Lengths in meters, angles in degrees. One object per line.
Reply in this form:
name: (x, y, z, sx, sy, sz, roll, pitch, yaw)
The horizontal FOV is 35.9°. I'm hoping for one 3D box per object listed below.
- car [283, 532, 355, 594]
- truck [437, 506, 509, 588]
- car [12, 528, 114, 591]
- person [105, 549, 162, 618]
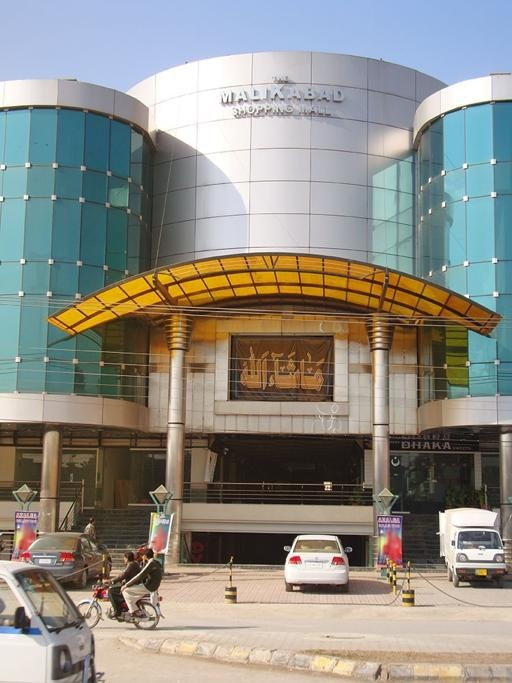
car: (1.451, 5.593, 19.499, 1.509, 1.396, 1.953, -1, -8, 2)
truck: (6.240, 6.034, 22.856, 1.380, 2.247, 2.620, -1, -8, 6)
car: (-4.936, 6.013, 20.944, 1.812, 1.343, 4.189, 1, -5, 3)
person: (-1.991, 3.999, 13.132, 1.006, 0.613, 1.539, 0, 23, 0)
